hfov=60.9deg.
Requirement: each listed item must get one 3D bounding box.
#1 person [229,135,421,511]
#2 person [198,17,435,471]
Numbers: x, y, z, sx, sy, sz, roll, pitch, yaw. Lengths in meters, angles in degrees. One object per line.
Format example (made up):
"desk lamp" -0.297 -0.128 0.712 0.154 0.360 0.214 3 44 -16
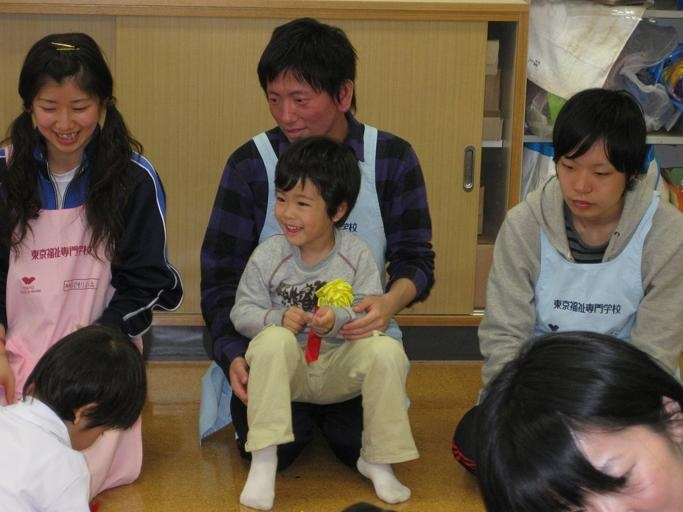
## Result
"person" -0.050 0.173 1.629 0.520 0.976 0.402 -3 13 -12
"person" -0.114 -0.075 1.820 0.688 1.288 0.775 11 14 43
